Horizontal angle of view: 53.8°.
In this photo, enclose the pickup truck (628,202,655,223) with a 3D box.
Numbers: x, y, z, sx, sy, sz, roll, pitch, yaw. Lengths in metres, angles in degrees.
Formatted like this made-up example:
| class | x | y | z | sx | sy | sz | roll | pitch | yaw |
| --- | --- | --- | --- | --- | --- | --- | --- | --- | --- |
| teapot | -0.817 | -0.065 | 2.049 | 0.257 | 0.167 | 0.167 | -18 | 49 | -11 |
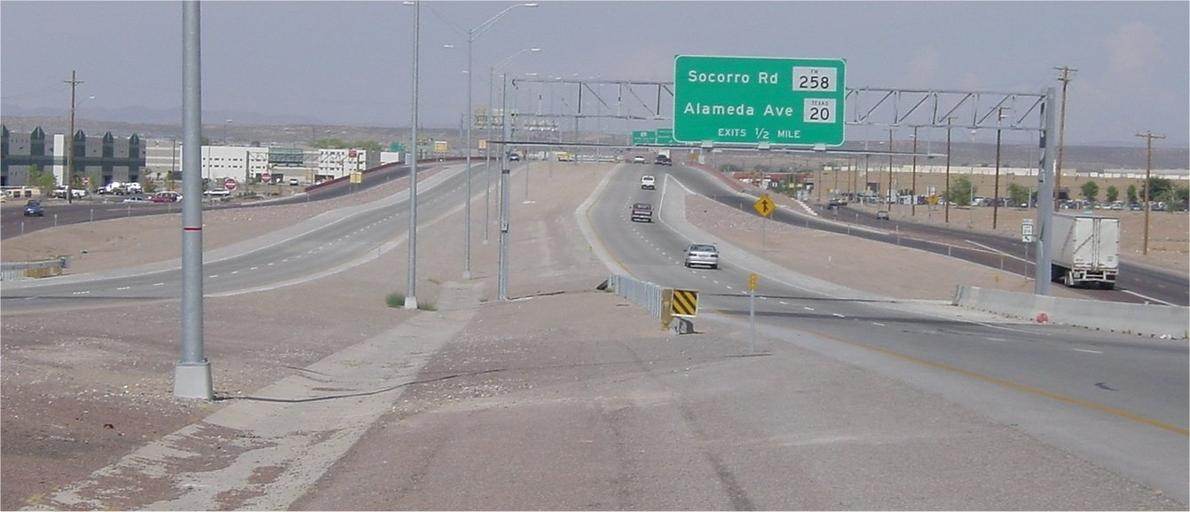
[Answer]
| class | x | y | z | sx | sy | sz | roll | pitch | yaw |
| --- | --- | --- | --- | --- | --- | --- | --- | --- | --- |
| pickup truck | 6.818 | -6.268 | 173.049 | 2.983 | 2.406 | 5.198 | 1 | 9 | 8 |
